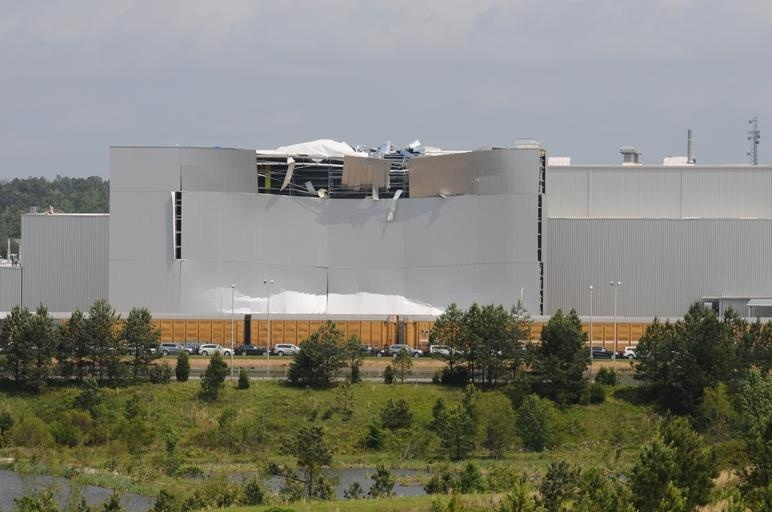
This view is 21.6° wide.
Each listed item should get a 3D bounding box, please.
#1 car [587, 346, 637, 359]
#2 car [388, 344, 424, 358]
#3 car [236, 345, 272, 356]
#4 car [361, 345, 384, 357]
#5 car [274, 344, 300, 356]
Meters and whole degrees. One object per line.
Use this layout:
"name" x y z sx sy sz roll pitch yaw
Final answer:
"car" 24.381 10.716 219.239 4.471 1.437 1.853 2 -5 4
"car" 1.760 10.539 218.845 3.241 1.212 1.553 -1 1 3
"car" -14.810 10.398 219.058 3.331 1.383 2.518 3 -6 -2
"car" -1.500 10.496 219.905 2.105 1.413 3.648 4 -6 -11
"car" -11.016 10.238 218.122 2.414 0.936 1.418 -2 5 1
